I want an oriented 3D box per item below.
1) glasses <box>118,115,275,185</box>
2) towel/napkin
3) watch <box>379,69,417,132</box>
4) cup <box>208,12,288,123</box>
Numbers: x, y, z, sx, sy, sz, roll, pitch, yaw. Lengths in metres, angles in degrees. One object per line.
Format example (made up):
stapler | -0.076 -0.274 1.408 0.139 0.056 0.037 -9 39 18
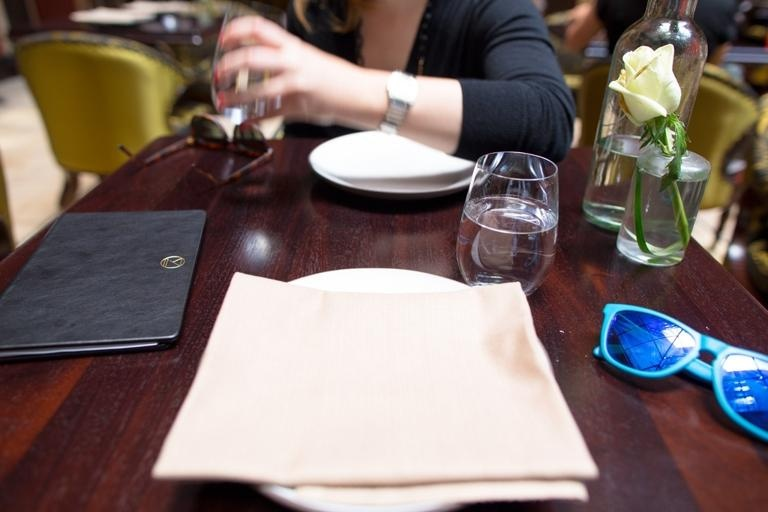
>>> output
glasses | -0.292 -0.206 0.994 0.168 0.070 0.198 16 32 14
towel/napkin | -0.010 0.126 0.525 0.267 0.038 0.258 0 40 7
watch | 0.022 -0.252 0.898 0.052 0.079 0.088 21 65 4
cup | -0.189 -0.279 0.790 0.134 0.140 0.084 -19 44 -23
